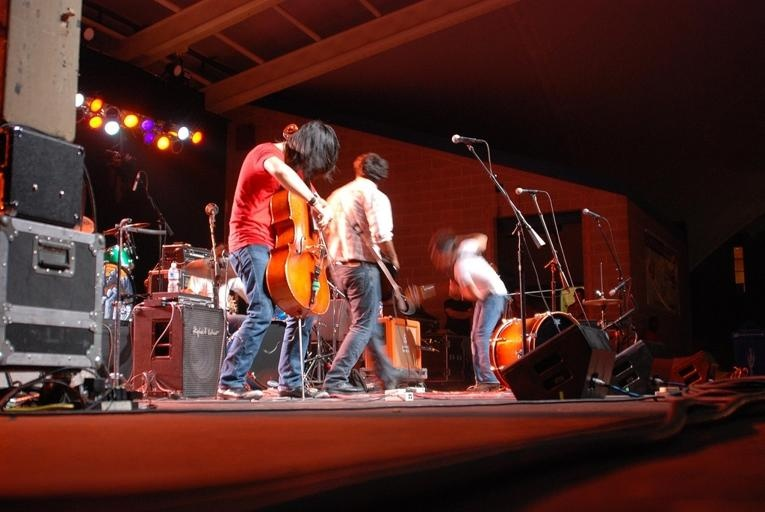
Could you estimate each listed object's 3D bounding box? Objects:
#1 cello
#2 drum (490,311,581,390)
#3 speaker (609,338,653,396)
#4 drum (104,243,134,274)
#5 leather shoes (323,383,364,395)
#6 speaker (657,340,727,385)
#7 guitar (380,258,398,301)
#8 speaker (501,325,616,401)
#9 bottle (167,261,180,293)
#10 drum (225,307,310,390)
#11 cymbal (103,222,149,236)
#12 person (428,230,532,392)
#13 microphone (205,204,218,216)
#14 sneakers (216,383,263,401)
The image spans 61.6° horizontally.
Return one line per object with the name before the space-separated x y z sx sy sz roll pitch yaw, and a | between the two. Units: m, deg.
cello | -0.574 -0.054 4.206 0.358 0.917 0.446 -1 -5 3
drum | 1.448 1.036 6.544 0.453 0.623 0.626 -4 -13 39
speaker | 1.553 0.702 4.005 0.229 0.316 0.434 -3 -6 23
drum | -2.670 0.030 6.469 0.227 0.256 0.252 -2 32 38
leather shoes | -0.263 0.891 4.385 0.276 0.108 0.095 0 -8 -12
speaker | 2.786 1.035 5.955 0.542 0.273 0.538 -3 -6 25
guitar | 0.072 0.173 4.688 0.097 0.270 0.186 1 -4 -13
speaker | 0.952 0.568 3.446 0.608 0.393 0.297 -1 -5 5
bottle | -1.873 0.182 5.729 0.101 0.276 0.369 1 -6 -19
drum | -0.863 0.697 4.748 0.245 0.790 0.563 -13 -19 42
cymbal | -2.642 -0.277 6.548 0.270 0.125 0.293 -10 5 5
person | 0.877 0.535 6.417 0.720 1.619 0.583 -2 -5 16
microphone | -1.544 -0.421 5.792 0.074 0.131 0.323 0 -5 -9
sneakers | -0.921 0.902 4.156 0.312 0.148 0.118 -2 -22 -2
